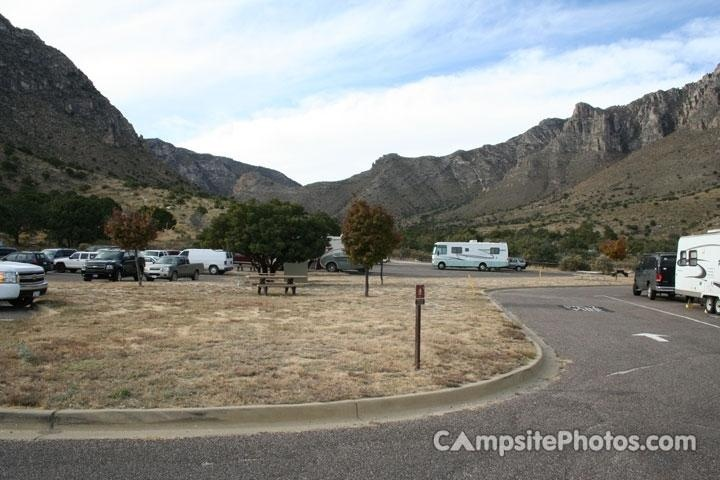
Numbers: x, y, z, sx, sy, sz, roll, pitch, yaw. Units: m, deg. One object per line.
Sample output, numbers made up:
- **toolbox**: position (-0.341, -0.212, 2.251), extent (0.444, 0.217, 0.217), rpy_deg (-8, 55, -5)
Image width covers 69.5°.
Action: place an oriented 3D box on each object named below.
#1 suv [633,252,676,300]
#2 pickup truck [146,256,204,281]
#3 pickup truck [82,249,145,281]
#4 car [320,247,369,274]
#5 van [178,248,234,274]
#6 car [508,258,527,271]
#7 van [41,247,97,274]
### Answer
- **suv**: position (15.031, 1.718, 25.935), extent (1.642, 1.751, 2.968), rpy_deg (1, 2, 9)
- **pickup truck**: position (-11.123, 1.696, 30.969), extent (1.441, 1.084, 3.032), rpy_deg (-1, -6, 15)
- **pickup truck**: position (-13.191, 1.414, 28.263), extent (2.064, 1.630, 3.823), rpy_deg (-1, -5, 6)
- **car**: position (-1.590, 1.909, 44.269), extent (3.355, 1.400, 1.880), rpy_deg (-1, 0, -1)
- **van**: position (-11.603, 1.618, 39.066), extent (3.372, 1.481, 1.814), rpy_deg (5, 0, -3)
- **car**: position (16.883, 2.637, 56.192), extent (2.590, 1.515, 1.800), rpy_deg (-5, -1, 29)
- **van**: position (-18.987, 1.377, 33.916), extent (2.778, 1.233, 1.635), rpy_deg (3, 0, -5)
